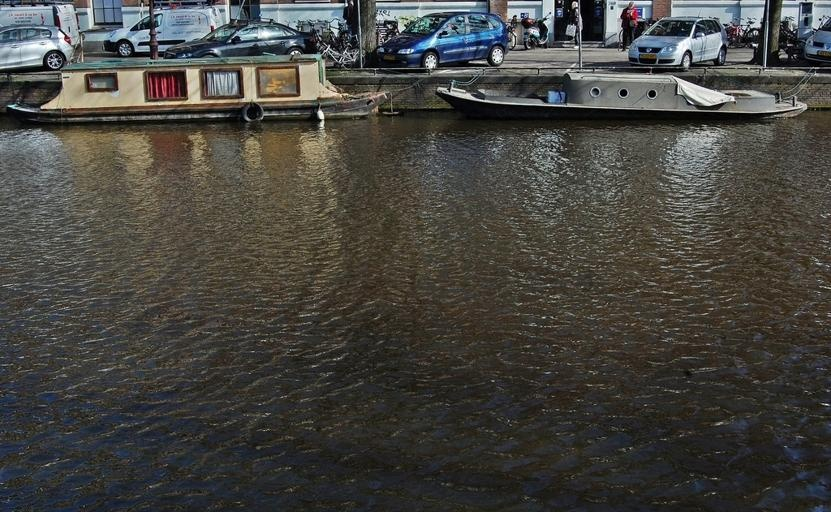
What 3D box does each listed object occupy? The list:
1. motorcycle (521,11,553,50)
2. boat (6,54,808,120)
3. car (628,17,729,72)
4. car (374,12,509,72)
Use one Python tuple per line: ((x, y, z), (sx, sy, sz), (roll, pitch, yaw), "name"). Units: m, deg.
((5.960, -11.338, 36.818), (1.282, 1.253, 2.915), (8, 22, 25), "motorcycle")
((-1.765, -5.426, 23.682), (22.328, 2.257, 2.064), (-1, 18, 2), "boat")
((9.747, -8.179, 27.706), (2.219, 1.191, 4.002), (26, 36, 38), "car")
((0.860, -8.021, 27.394), (5.628, 1.380, 2.681), (-4, 10, -26), "car")
